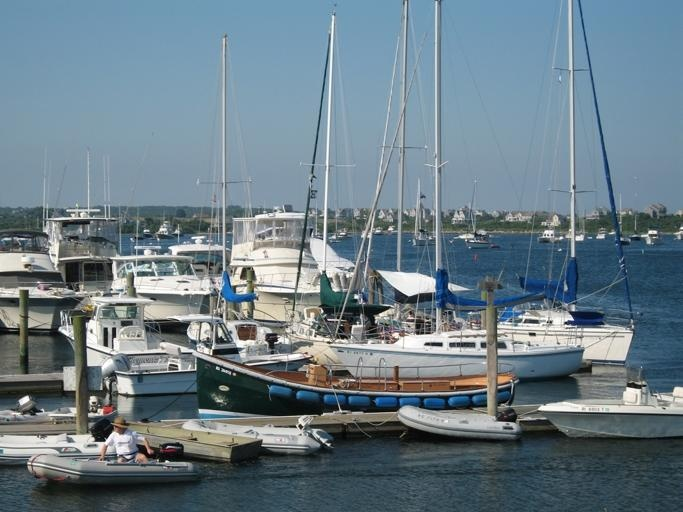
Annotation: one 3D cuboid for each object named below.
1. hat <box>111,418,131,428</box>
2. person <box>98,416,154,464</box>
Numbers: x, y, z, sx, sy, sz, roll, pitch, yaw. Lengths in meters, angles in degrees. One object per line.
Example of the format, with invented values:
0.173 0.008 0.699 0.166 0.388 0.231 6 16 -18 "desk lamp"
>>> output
-6.532 4.880 41.950 0.432 0.305 1.051 -1 -1 -8 "hat"
-6.366 5.464 41.527 1.680 1.481 0.967 -8 15 5 "person"
